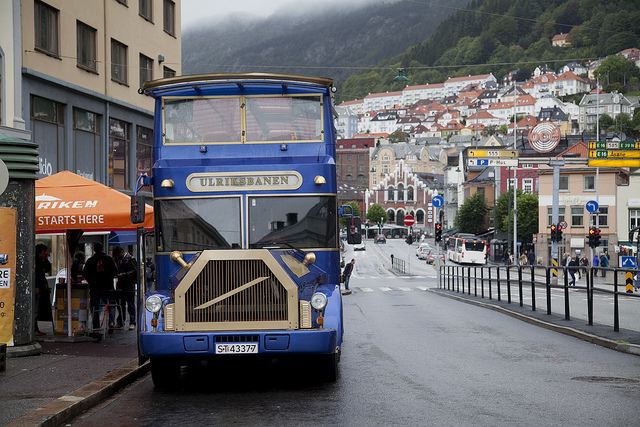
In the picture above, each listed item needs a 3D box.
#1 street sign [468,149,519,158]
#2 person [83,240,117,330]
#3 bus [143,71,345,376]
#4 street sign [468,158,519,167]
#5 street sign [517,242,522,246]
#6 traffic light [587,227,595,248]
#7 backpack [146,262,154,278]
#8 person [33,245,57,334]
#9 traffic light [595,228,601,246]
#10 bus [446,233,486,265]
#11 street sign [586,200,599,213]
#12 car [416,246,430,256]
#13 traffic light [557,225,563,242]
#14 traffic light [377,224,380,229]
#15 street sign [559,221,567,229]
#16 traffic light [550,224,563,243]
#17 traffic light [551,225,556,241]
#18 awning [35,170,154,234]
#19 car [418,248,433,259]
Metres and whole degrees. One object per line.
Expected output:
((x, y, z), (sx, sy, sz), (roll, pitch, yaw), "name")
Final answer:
((8.257, -2.853, 40.647), (2.328, 0.404, 1.663), (0, 3, 5), "street sign")
((-5.927, 1.971, 23.063), (0.849, 2.365, 1.508), (-1, 3, -14), "person")
((-1.553, 0.235, 17.863), (3.927, 6.498, 2.984), (0, 3, -1), "bus")
((8.365, -2.467, 40.908), (2.544, 0.368, 0.787), (-1, 3, -14), "street sign")
((17.279, 2.673, 74.170), (0.400, 0.120, 0.456), (-1, 0, 5), "street sign")
((15.635, 1.402, 49.151), (0.298, 1.184, 1.646), (0, 3, 16), "traffic light")
((-5.736, 1.862, 28.324), (0.264, 0.534, 0.316), (7, -11, 8), "backpack")
((-7.456, 1.978, 22.943), (0.611, 2.411, 0.692), (-4, -3, -26), "person")
((15.920, 1.327, 49.048), (0.167, 1.027, 1.398), (1, 3, 23), "traffic light")
((14.591, 3.551, 86.353), (2.382, 3.173, 8.493), (4, 0, -2), "bus")
((17.700, -0.476, 55.481), (0.902, 0.943, 0.155), (-2, -6, -36), "street sign")
((11.323, 4.055, 93.847), (1.033, 0.849, 2.401), (1, 4, 4), "car")
((12.713, 0.973, 45.277), (0.206, 0.822, 1.009), (1, 3, 18), "traffic light")
((10.750, 2.305, 157.690), (0.537, 1.114, 0.568), (1, 1, 1), "traffic light")
((17.306, 0.783, 60.841), (0.549, 0.611, 0.191), (2, 5, 27), "street sign")
((12.480, 1.034, 45.102), (0.499, 0.985, 0.699), (2, 3, 37), "traffic light")
((12.298, 0.995, 44.942), (0.123, 0.831, 0.364), (-1, 3, -20), "traffic light")
((-6.095, -0.277, 21.660), (2.667, 1.329, 1.220), (1, 3, 17), "awning")
((11.311, 4.228, 91.806), (1.009, 0.814, 2.318), (1, 2, 6), "car")
